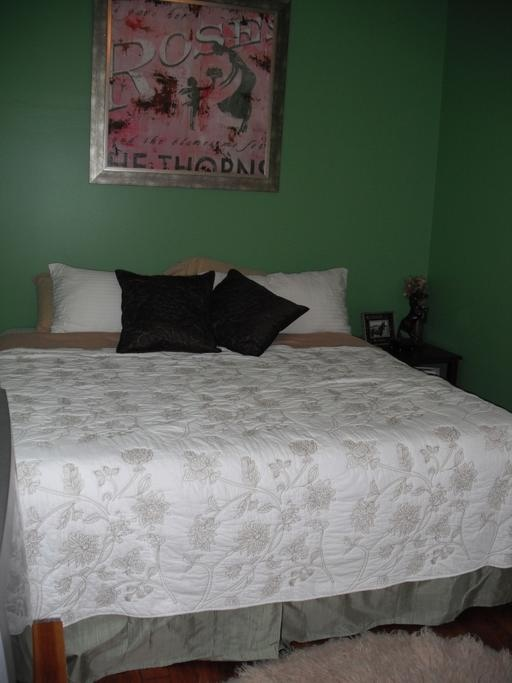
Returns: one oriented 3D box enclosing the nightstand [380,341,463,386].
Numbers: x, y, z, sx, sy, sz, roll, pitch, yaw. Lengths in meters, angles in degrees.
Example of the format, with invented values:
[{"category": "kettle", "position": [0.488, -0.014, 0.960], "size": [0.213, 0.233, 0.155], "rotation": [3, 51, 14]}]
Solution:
[{"category": "nightstand", "position": [1.001, 0.084, 3.451], "size": [0.344, 0.291, 0.322], "rotation": [-2, 17, -8]}]
